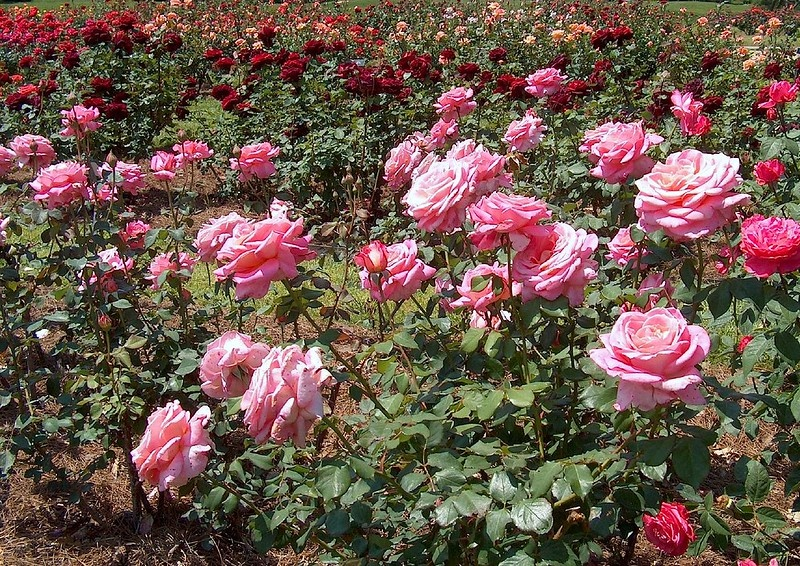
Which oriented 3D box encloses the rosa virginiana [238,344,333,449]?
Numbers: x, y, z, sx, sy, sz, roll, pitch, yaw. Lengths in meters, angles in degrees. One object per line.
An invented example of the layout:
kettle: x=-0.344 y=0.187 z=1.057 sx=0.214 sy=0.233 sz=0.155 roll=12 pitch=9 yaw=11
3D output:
rosa virginiana: x=-0.361 y=0.352 z=1.971 sx=0.259 sy=0.300 sz=0.294 roll=6 pitch=52 yaw=-35

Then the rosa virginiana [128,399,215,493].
rosa virginiana: x=-0.725 y=0.582 z=2.123 sx=0.305 sy=0.188 sz=0.292 roll=-23 pitch=43 yaw=21

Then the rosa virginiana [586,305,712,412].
rosa virginiana: x=0.702 y=0.257 z=1.773 sx=0.290 sy=0.181 sz=0.291 roll=37 pitch=74 yaw=26

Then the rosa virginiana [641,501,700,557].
rosa virginiana: x=0.986 y=0.866 z=2.276 sx=0.190 sy=0.180 sz=0.098 roll=42 pitch=17 yaw=9
